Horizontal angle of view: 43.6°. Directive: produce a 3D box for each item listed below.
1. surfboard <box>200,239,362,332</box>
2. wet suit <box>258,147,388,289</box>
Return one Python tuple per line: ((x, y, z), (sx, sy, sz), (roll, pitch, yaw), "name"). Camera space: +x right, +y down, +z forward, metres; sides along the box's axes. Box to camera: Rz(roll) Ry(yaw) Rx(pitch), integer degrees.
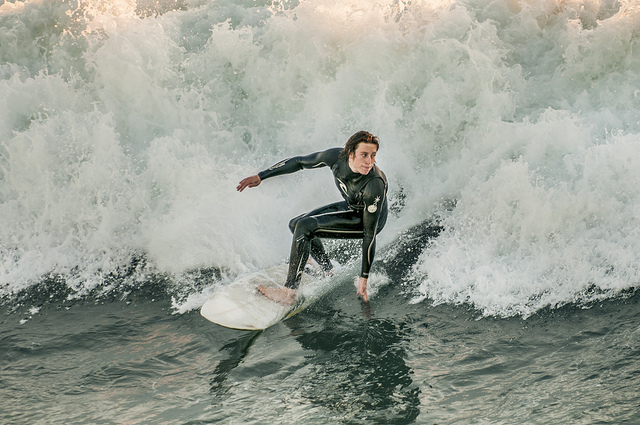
((-0.148, 1.257, 13.432), (3.810, 0.515, 0.973), (-19, 56, -40), "surfboard")
((0.248, 0.086, 12.433), (1.566, 1.459, 1.979), (-2, 78, 2), "wet suit")
